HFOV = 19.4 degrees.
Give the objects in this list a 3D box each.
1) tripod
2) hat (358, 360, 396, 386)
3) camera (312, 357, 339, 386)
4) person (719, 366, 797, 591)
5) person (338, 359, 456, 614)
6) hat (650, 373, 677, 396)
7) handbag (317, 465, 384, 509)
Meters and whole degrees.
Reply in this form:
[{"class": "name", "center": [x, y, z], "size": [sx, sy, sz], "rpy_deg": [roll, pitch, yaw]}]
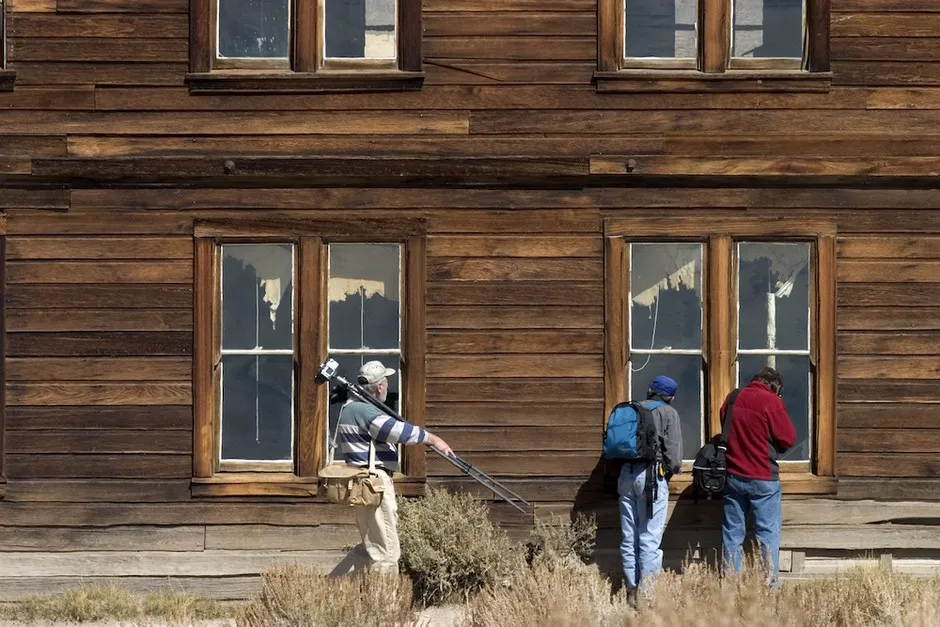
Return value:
[{"class": "tripod", "center": [-0.446, 1.519, 29.905], "size": [2.509, 0.358, 0.299], "rpy_deg": [31, 15, -15]}, {"class": "hat", "center": [-1.027, 0.668, 29.508], "size": [0.352, 0.148, 0.231], "rpy_deg": [-8, 13, -32]}, {"class": "camera", "center": [-1.562, 0.649, 29.446], "size": [0.236, 0.313, 0.114], "rpy_deg": [38, -5, 5]}, {"class": "person", "center": [3.112, 1.696, 29.721], "size": [0.777, 2.092, 0.262], "rpy_deg": [-1, -2, 5]}, {"class": "person", "center": [-0.966, 1.683, 29.298], "size": [1.023, 2.286, 1.234], "rpy_deg": [0, -2, -18]}, {"class": "hat", "center": [2.121, 0.804, 29.879], "size": [0.264, 0.132, 0.236], "rpy_deg": [6, -1, -17]}, {"class": "handbag", "center": [-1.289, 1.859, 29.250], "size": [0.703, 0.335, 0.590], "rpy_deg": [3, 6, 36]}]
